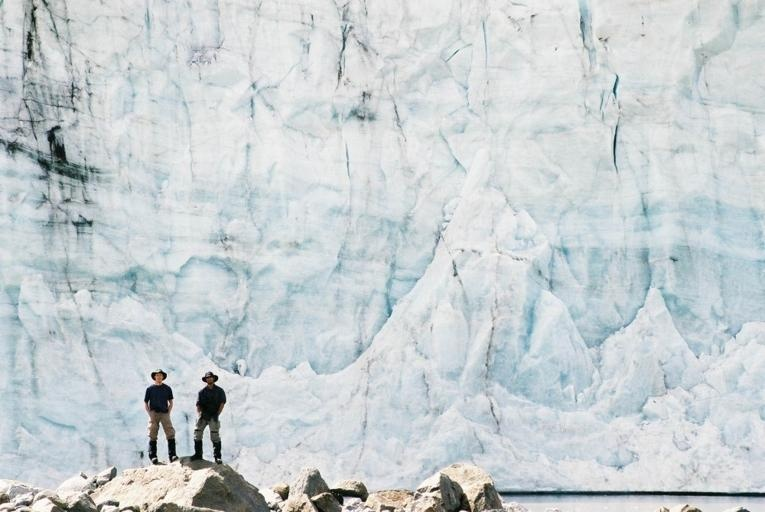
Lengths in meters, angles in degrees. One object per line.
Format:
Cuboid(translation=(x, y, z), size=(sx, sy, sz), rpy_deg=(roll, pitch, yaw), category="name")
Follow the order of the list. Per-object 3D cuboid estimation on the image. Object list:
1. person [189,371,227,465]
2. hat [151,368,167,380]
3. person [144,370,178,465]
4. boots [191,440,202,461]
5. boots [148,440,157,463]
Cuboid(translation=(-3.100, 2.888, 31.834), size=(0.542, 1.608, 0.573), rpy_deg=(1, -4, -5), category="person")
Cuboid(translation=(-4.096, 2.183, 32.682), size=(0.333, 0.315, 0.101), rpy_deg=(1, 8, -2), category="hat")
Cuboid(translation=(-3.976, 2.902, 32.183), size=(0.601, 1.644, 1.152), rpy_deg=(1, -4, -7), category="person")
Cuboid(translation=(-3.276, 3.444, 31.624), size=(0.188, 0.370, 0.195), rpy_deg=(0, -4, 9), category="boots")
Cuboid(translation=(-4.048, 3.485, 31.690), size=(0.140, 0.408, 0.185), rpy_deg=(1, -4, -1), category="boots")
